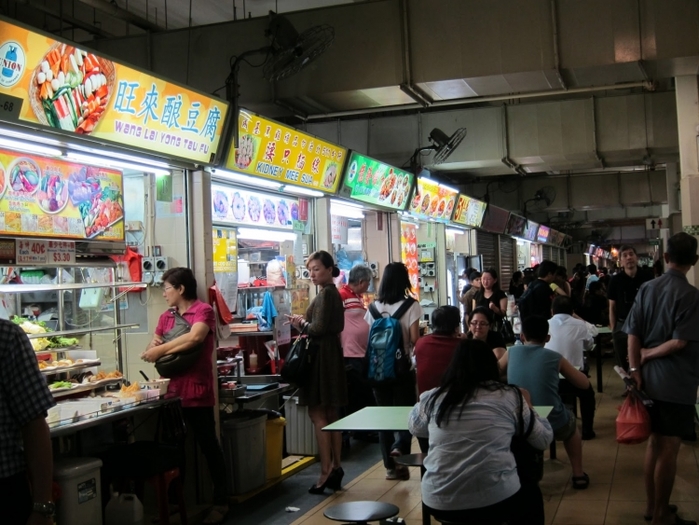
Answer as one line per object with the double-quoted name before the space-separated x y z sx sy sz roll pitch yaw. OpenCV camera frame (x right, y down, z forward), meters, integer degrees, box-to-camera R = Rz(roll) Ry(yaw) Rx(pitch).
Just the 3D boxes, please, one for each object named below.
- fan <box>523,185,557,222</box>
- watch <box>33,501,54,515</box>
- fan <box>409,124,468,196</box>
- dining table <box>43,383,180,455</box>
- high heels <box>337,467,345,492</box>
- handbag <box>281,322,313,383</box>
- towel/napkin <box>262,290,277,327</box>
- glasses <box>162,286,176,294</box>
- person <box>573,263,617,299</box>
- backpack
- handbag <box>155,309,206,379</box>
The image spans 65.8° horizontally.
"fan" 4.883 -1.595 13.821 0.788 0.797 0.437 -3 -1 18
"watch" -1.129 0.892 1.995 0.064 0.045 0.061 -3 -11 37
"fan" 1.259 -1.494 8.062 0.710 1.079 0.690 13 9 13
"dining table" -1.716 0.975 3.703 0.370 0.208 0.917 -3 -1 28
"high heels" -0.072 1.834 4.578 0.071 0.194 0.064 2 17 8
"handbag" -0.462 0.809 4.620 0.263 0.386 0.199 -2 -1 -14
"towel/napkin" -0.833 0.486 5.530 0.156 0.403 0.087 -6 -30 1
"glasses" -1.397 0.214 4.196 0.085 0.030 0.087 6 3 15
"person" 5.364 0.402 11.813 1.026 0.622 0.511 7 -13 -32
"backpack" 0.365 0.671 4.710 0.428 0.635 0.305 -2 -1 5
"handbag" -1.294 0.621 4.144 0.325 0.474 0.196 -24 -26 30
